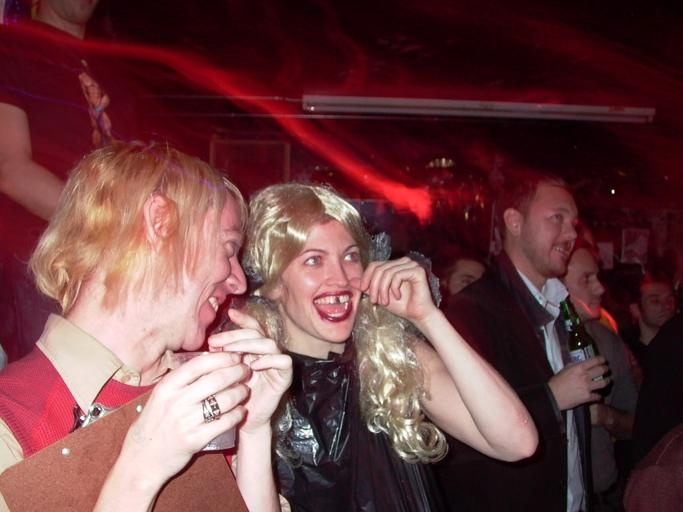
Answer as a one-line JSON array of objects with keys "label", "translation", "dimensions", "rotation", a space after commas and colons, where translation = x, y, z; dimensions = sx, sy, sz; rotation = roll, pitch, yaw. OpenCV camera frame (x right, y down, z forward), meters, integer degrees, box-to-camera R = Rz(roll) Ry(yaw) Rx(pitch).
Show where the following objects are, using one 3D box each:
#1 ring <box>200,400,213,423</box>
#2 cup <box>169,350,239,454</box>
[{"label": "ring", "translation": [-0.548, 0.634, 2.342], "dimensions": [0.019, 0.069, 0.066], "rotation": [-10, 3, -11]}, {"label": "cup", "translation": [-0.582, 0.720, 2.560], "dimensions": [0.363, 0.541, 0.195], "rotation": [5, 1, 7]}]
